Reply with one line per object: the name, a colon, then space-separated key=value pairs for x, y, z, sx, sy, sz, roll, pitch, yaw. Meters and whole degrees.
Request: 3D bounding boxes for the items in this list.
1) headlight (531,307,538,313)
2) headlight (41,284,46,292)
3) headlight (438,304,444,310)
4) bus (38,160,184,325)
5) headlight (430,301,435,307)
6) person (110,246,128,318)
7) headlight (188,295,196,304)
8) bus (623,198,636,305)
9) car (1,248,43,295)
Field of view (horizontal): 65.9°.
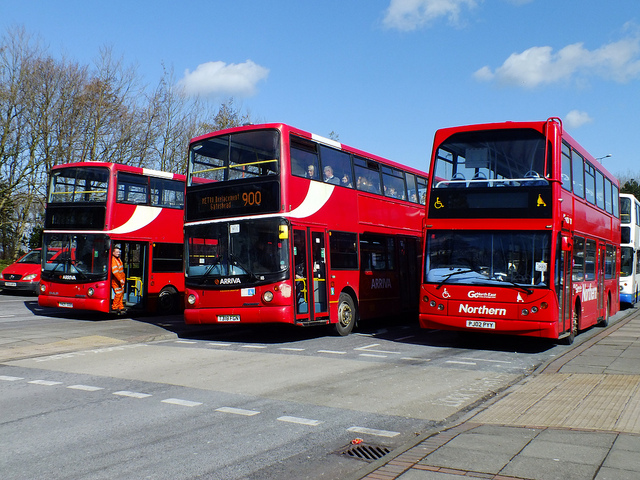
headlight: x=5.211 y=1.686 z=12.003 sx=0.037 sy=0.098 sz=0.098 roll=3 pitch=-46 yaw=-43
headlight: x=-10.647 y=1.810 z=18.951 sx=0.211 sy=0.246 sz=0.055 roll=14 pitch=4 yaw=17
headlight: x=3.150 y=1.729 z=12.880 sx=0.131 sy=0.156 sz=0.042 roll=4 pitch=-3 yaw=19
bus: x=-7.772 y=0.103 z=23.293 sx=2.949 sy=5.993 sz=10.941 roll=-1 pitch=-2 yaw=14
headlight: x=2.960 y=1.656 z=12.979 sx=0.138 sy=0.161 sz=0.055 roll=3 pitch=-2 yaw=43
person: x=-7.474 y=1.439 z=18.260 sx=0.401 sy=2.476 sz=0.491 roll=-1 pitch=-3 yaw=32
headlight: x=-3.690 y=1.689 z=14.072 sx=0.193 sy=0.228 sz=0.051 roll=-5 pitch=-5 yaw=26
bus: x=16.880 y=0.630 z=26.899 sx=0.674 sy=5.679 sz=2.345 roll=-1 pitch=-3 yaw=32
car: x=-16.766 y=1.751 z=27.673 sx=1.841 sy=2.550 sz=2.691 roll=2 pitch=-3 yaw=-35
